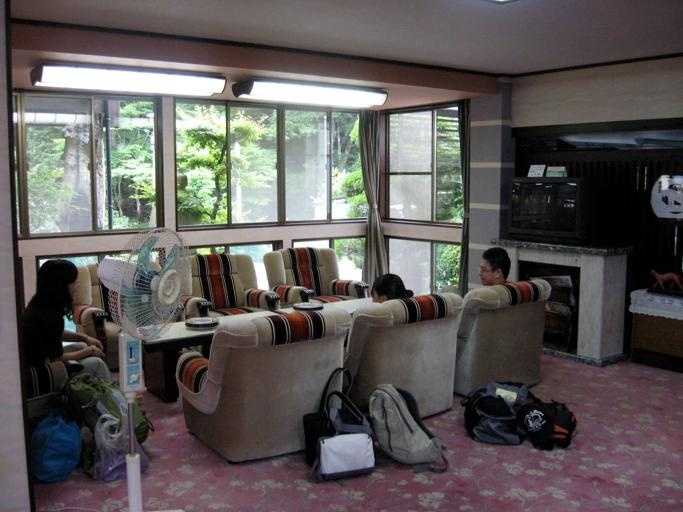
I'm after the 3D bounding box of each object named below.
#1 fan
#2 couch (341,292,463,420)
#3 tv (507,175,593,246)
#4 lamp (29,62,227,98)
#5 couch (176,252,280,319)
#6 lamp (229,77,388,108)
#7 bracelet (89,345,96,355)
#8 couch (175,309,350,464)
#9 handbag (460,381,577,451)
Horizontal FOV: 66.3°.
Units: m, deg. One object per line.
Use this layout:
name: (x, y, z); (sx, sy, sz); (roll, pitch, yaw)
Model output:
fan: (-1.020, 0.667, 2.777); (0.443, 1.640, 0.326); (-3, 10, -20)
couch: (0.458, 0.817, 4.529); (1.048, 1.032, 0.790); (-3, 6, -31)
tv: (2.608, -0.575, 6.457); (0.571, 0.821, 0.981); (-5, 9, -38)
lamp: (-2.244, -1.883, 5.566); (1.851, 0.157, 0.654); (-4, 10, -27)
couch: (-1.381, 0.562, 6.236); (1.048, 1.182, 0.929); (-5, 4, -40)
lamp: (-0.366, -2.010, 6.400); (1.889, 0.169, 0.571); (-5, 10, -28)
bracelet: (-2.070, 0.776, 4.343); (0.047, 0.060, 0.061); (-20, 56, -35)
couch: (-0.645, 0.853, 4.115); (1.108, 1.068, 1.120); (-4, 9, -33)
handbag: (1.380, 1.290, 4.136); (0.626, 0.273, 0.521); (0, 5, 39)
